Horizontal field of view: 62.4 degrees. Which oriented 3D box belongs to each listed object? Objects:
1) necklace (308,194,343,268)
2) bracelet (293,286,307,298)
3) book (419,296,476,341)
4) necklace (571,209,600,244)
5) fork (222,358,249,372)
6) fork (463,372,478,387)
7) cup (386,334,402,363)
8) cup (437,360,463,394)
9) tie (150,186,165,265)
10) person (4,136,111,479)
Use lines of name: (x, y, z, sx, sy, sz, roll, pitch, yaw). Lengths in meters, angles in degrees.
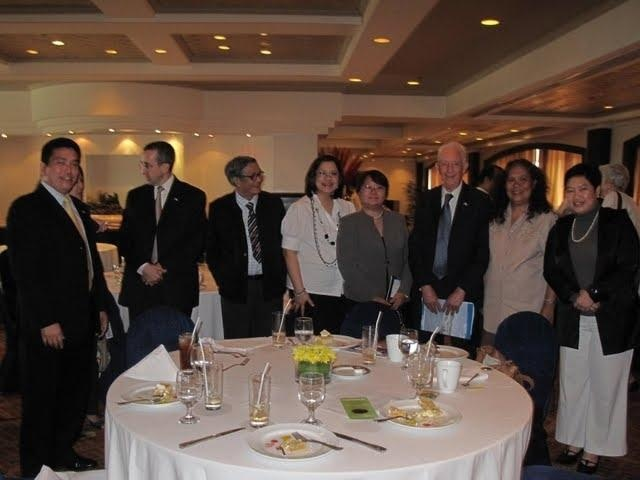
necklace: (0.028, -0.069, 3.984, 0.246, 0.478, 0.081, -2, -8, -12)
bracelet: (-0.149, 0.402, 4.049, 0.072, 0.045, 0.095, 3, -12, -17)
book: (0.928, 0.561, 3.793, 0.320, 0.234, 0.035, 4, -1, 40)
necklace: (1.808, -0.088, 3.598, 0.057, 0.217, 0.134, 7, 11, -36)
fork: (-0.457, 0.682, 2.856, 0.214, 0.026, 0.029, -19, 43, 12)
fork: (0.765, 0.711, 2.708, 0.037, 0.013, 0.112, 15, 30, 38)
cup: (0.407, 0.604, 2.923, 0.137, 0.162, 0.142, -1, -5, 0)
cup: (0.643, 0.670, 2.576, 0.103, 0.122, 0.163, 2, 4, 20)
tie: (-1.231, -0.100, 4.014, 0.073, 0.621, 0.080, 1, -7, -8)
person: (-1.679, 0.469, 3.359, 0.342, 2.181, 0.722, 5, 13, 20)
